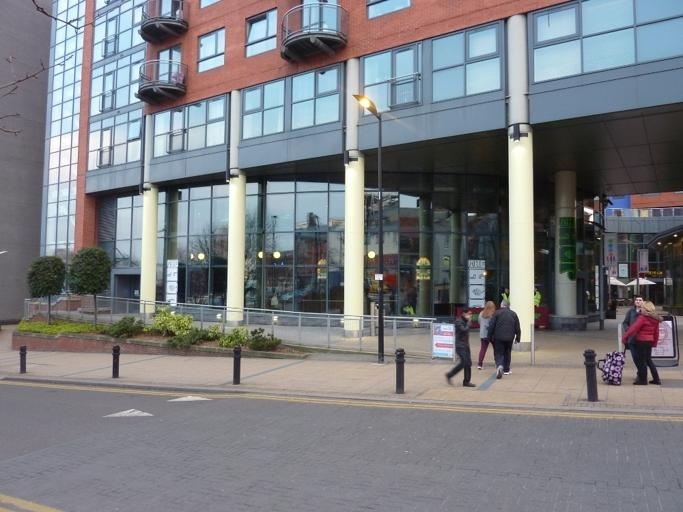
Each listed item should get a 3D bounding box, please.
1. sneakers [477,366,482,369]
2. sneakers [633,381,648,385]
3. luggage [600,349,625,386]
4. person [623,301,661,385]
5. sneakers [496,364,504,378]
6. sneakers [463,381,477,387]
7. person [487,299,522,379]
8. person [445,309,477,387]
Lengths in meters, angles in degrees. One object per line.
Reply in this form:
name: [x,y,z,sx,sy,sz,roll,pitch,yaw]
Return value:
sneakers: [4.303,3.513,21.401,0.112,0.119,0.296,-3,-10,12]
sneakers: [8.158,3.466,18.638,0.345,0.130,0.124,-1,-1,15]
luggage: [7.568,3.156,19.079,0.704,0.974,0.718,7,-9,37]
person: [8.269,2.388,18.763,0.932,2.294,1.137,-4,-7,24]
sneakers: [4.636,3.420,19.986,0.168,0.462,0.203,1,11,6]
sneakers: [3.602,3.636,19.244,0.380,0.241,0.128,-1,0,-6]
person: [4.837,2.487,20.389,0.921,2.295,0.927,-3,-7,12]
person: [3.416,2.647,19.662,0.739,2.231,1.372,-2,-7,9]
